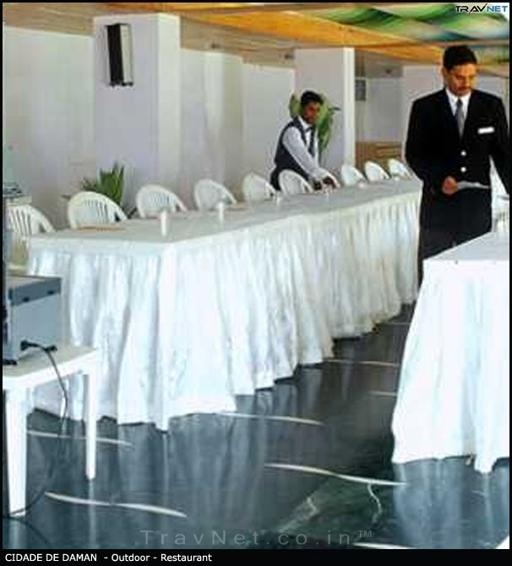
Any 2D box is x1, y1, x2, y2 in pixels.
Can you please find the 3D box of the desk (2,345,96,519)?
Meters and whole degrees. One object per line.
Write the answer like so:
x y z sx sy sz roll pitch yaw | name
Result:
-0.675 0.439 2.069 0.312 0.497 0.617 -2 5 -16 | desk

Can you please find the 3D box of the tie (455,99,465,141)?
0.713 -0.577 2.228 0.032 0.126 0.043 1 5 19 | tie

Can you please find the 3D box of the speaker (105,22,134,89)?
-0.518 -0.869 2.422 0.072 0.244 0.109 -8 15 -34 | speaker

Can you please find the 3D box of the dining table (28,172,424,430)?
-0.102 0.081 2.488 1.437 0.923 0.257 -1 5 -1 | dining table
